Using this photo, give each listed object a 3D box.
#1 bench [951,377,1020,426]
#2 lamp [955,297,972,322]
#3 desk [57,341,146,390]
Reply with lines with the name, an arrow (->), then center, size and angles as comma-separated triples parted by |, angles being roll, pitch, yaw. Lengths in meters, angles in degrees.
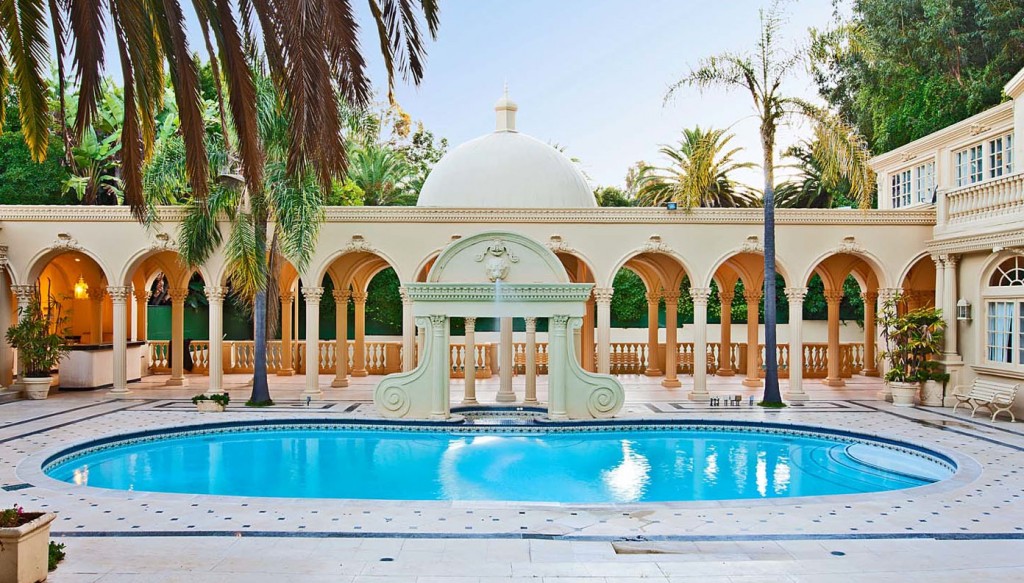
bench -> 13.202, 2.980, 22.930 | 1.248, 1.081, 2.186 | 1, -4, -20
lamp -> 13.025, 0.562, 24.052 | 0.277, 0.664, 0.442 | 3, -5, -42
desk -> -14.421, 2.520, 29.396 | 1.358, 1.416, 4.434 | 2, 0, -4
